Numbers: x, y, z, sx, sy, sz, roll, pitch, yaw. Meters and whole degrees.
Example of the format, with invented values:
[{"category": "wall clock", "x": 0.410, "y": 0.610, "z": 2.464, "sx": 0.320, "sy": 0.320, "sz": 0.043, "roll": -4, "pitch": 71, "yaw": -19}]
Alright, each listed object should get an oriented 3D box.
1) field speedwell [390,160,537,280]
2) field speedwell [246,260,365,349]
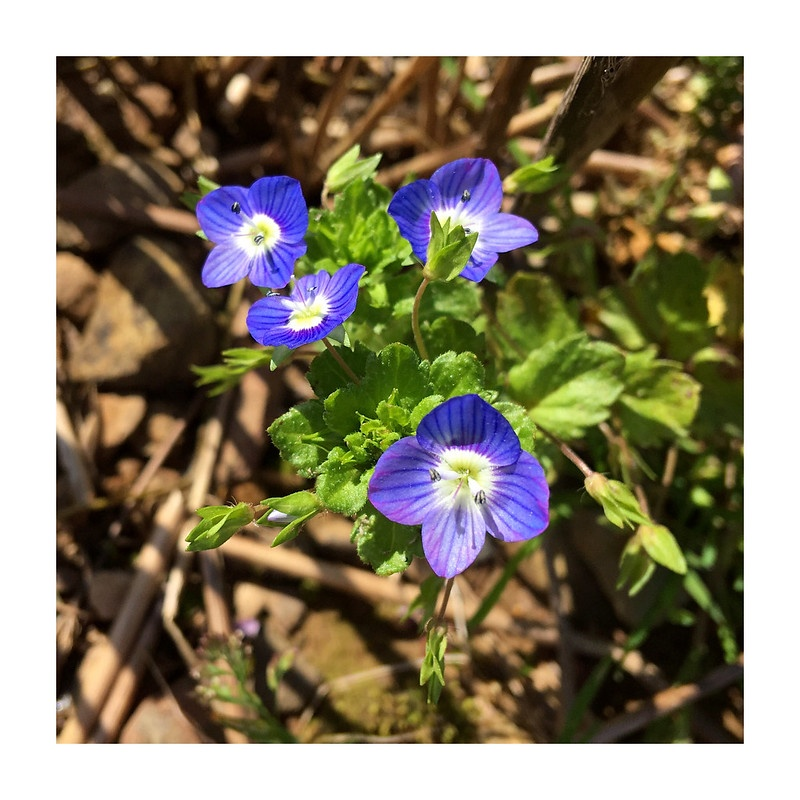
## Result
[{"category": "field speedwell", "x": 0.089, "y": -0.254, "z": 1.053, "sx": 0.205, "sy": 0.166, "sz": 0.131, "roll": -7, "pitch": 21, "yaw": -43}, {"category": "field speedwell", "x": -0.127, "y": -0.128, "z": 1.008, "sx": 0.118, "sy": 0.123, "sz": 0.138, "roll": -6, "pitch": 21, "yaw": -41}]
